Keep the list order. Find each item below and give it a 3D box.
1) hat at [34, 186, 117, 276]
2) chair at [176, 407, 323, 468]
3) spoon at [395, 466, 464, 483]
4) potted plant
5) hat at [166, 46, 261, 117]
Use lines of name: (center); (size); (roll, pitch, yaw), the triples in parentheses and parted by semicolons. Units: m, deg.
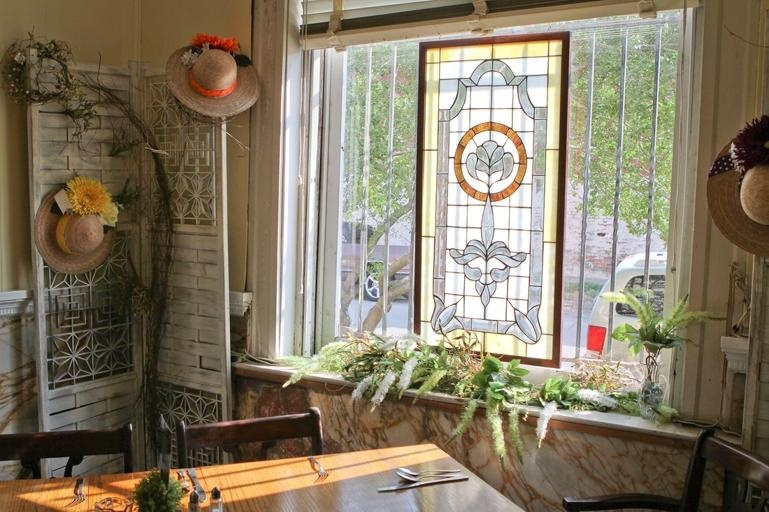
hat: (-1.728, -0.141, 3.299); (0.394, 0.475, 0.140); (-1, 3, -27)
chair: (-0.637, 0.890, 2.917); (0.535, 0.331, 0.184); (-2, 9, -23)
spoon: (0.179, 0.888, 2.414); (0.196, 0.030, 0.090); (-1, 0, -2)
potted plant: (1.346, 0.478, 2.954); (0.473, 0.603, 0.290); (2, 3, 27)
hat: (-0.935, -0.971, 3.278); (0.508, 0.380, 0.263); (-1, 3, -22)
